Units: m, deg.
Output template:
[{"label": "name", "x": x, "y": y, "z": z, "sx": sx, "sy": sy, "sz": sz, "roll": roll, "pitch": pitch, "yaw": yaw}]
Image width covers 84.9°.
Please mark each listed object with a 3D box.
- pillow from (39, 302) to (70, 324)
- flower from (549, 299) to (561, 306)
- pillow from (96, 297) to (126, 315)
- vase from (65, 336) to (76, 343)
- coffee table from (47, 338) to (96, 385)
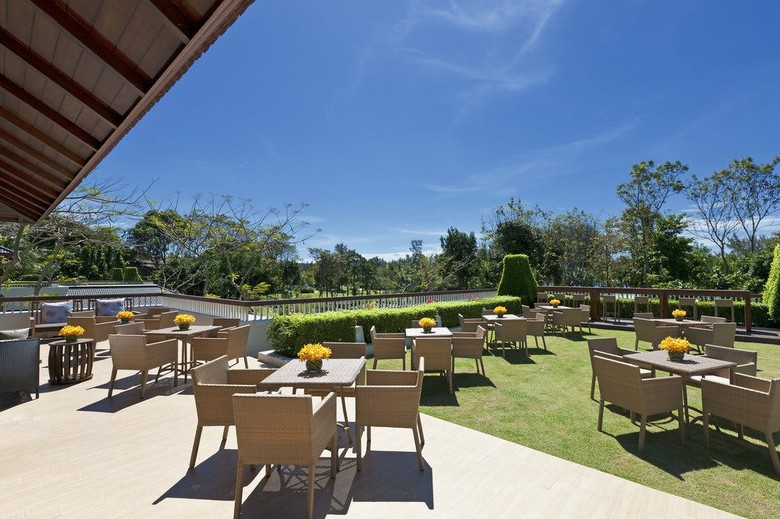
[{"label": "pillow", "x": -9.815, "y": 1.576, "z": 12.516, "sx": 0.291, "sy": 0.554, "sz": 0.549, "roll": -14, "pitch": -10, "yaw": 33}, {"label": "flower", "x": 6.339, "y": 1.624, "z": 16.338, "sx": 0.324, "sy": 0.235, "sz": 0.328, "roll": -7, "pitch": -6, "yaw": 36}, {"label": "pillow", "x": -8.766, "y": 1.464, "z": 13.361, "sx": 0.524, "sy": 0.389, "sz": 0.185, "roll": 5, "pitch": -39, "yaw": -47}, {"label": "vase", "x": -6.745, "y": 1.694, "z": 9.040, "sx": 0.139, "sy": 0.106, "sz": 0.142, "roll": 2, "pitch": -2, "yaw": -2}, {"label": "coffee table", "x": -6.857, "y": 2.148, "z": 9.401, "sx": 0.928, "sy": 0.970, "sz": 0.929, "roll": 0, "pitch": 1, "yaw": -7}]
